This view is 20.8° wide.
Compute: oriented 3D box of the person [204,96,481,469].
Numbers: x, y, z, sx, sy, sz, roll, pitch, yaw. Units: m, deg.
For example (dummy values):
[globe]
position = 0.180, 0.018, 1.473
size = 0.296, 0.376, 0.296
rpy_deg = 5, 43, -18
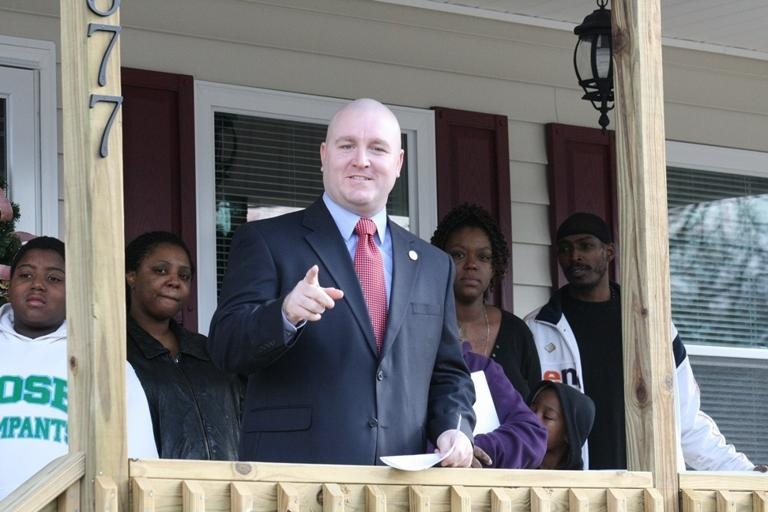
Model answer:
[person]
position = -0.190, 0.120, 9.709
size = 1.219, 1.701, 0.535
rpy_deg = 0, -7, -3
